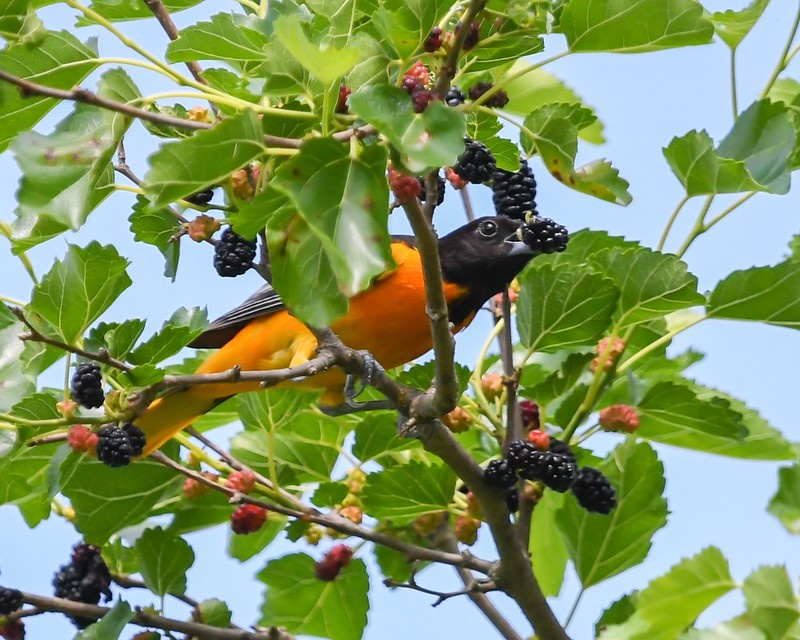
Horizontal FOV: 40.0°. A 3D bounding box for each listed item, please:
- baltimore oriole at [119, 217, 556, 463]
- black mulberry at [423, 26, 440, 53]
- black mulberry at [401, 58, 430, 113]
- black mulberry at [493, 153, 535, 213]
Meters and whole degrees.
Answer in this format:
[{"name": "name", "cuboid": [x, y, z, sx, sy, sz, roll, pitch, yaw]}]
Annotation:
[{"name": "baltimore oriole", "cuboid": [-0.120, 0.079, 4.630, 2.014, 0.843, 0.689, -12, -29, 4]}, {"name": "black mulberry", "cuboid": [0.095, -0.821, 3.191, 0.057, 0.071, 0.075, 0, -56, 1]}, {"name": "black mulberry", "cuboid": [0.029, -0.647, 3.043, 0.057, 0.148, 0.069, 5, -12, 2]}, {"name": "black mulberry", "cuboid": [0.419, -0.473, 4.083, 0.160, 0.175, 0.238, -8, -56, 6]}]
